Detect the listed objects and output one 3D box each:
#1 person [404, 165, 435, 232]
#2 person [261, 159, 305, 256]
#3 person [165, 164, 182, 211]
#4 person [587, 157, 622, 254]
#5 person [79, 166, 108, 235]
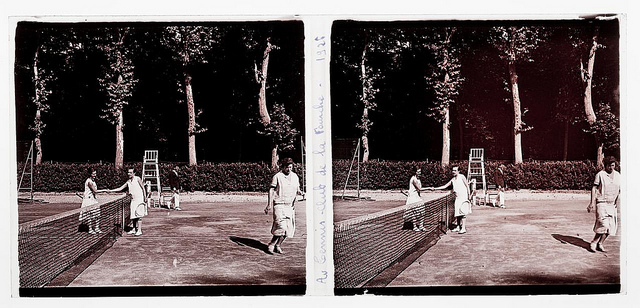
[{"bbox_3d":[2.896,1.361,15.197,0.650,1.990,0.195,1,1,4],"label":"person"},{"bbox_3d":[-1.104,1.599,14.956,1.036,2.889,0.316,1,1,-4],"label":"person"},{"bbox_3d":[-4.501,1.038,15.308,0.462,1.415,0.138,0,1,-8],"label":"person"},{"bbox_3d":[8.629,1.554,15.213,0.932,2.916,0.348,0,1,-11],"label":"person"},{"bbox_3d":[-7.007,1.421,15.268,0.697,2.027,0.273,1,1,10],"label":"person"}]
